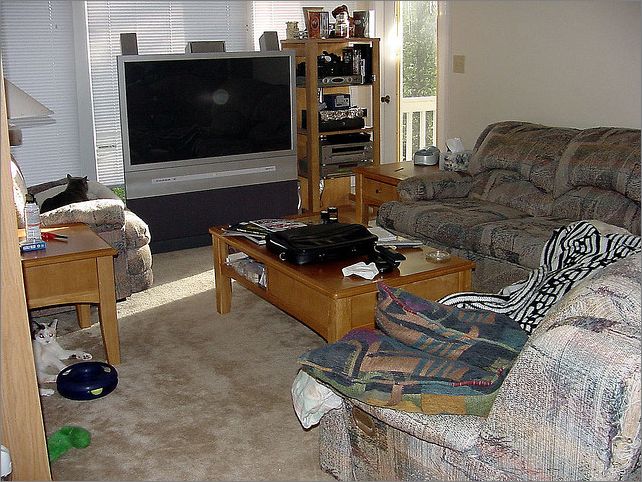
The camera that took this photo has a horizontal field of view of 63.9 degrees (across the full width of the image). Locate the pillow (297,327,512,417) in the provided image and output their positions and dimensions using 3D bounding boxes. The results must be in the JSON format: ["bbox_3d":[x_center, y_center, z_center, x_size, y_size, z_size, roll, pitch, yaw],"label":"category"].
[{"bbox_3d":[0.237,0.343,1.351,0.445,0.089,0.367,4,5,17],"label":"pillow"}]

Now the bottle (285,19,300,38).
[{"bbox_3d":[-0.287,-2.104,5.141,0.124,0.180,0.189,2,18,8],"label":"bottle"}]

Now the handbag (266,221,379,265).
[{"bbox_3d":[0.025,0.005,2.626,0.347,0.065,0.323,-11,18,-34],"label":"handbag"}]

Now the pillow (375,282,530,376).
[{"bbox_3d":[0.360,0.252,1.460,0.379,0.095,0.248,14,13,12],"label":"pillow"}]

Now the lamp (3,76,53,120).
[{"bbox_3d":[-1.551,-0.729,2.646,0.164,0.179,0.331,-2,16,-4],"label":"lamp"}]

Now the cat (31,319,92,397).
[{"bbox_3d":[-1.329,0.534,2.619,0.251,0.327,0.468,-10,19,-23],"label":"cat"}]

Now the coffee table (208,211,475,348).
[{"bbox_3d":[0.038,0.222,2.990,0.852,0.433,1.291,-13,22,-31],"label":"coffee table"}]

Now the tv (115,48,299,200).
[{"bbox_3d":[-0.960,-0.987,4.296,1.980,0.976,0.059,-7,18,-25],"label":"tv"}]

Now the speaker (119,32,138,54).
[{"bbox_3d":[-1.529,-1.560,4.069,0.126,0.183,0.263,-7,18,-18],"label":"speaker"}]

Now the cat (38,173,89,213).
[{"bbox_3d":[-1.680,-0.318,3.399,0.222,0.160,0.361,10,29,23],"label":"cat"}]

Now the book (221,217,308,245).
[{"bbox_3d":[-0.361,-0.073,2.970,0.285,0.047,0.256,-10,16,-37],"label":"book"}]

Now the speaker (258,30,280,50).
[{"bbox_3d":[-0.466,-1.797,4.617,0.160,0.211,0.439,-3,16,-6],"label":"speaker"}]

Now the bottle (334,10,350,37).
[{"bbox_3d":[0.206,-2.151,5.118,0.144,0.270,0.268,0,18,3],"label":"bottle"}]

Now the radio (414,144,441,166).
[{"bbox_3d":[0.908,-0.729,4.432,0.151,0.083,0.254,9,18,28],"label":"radio"}]
